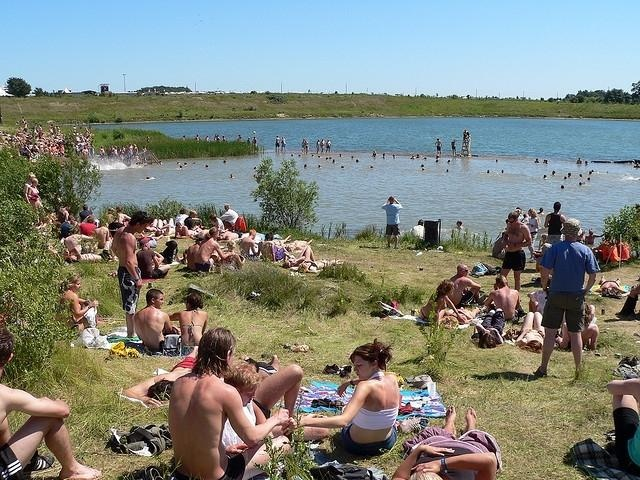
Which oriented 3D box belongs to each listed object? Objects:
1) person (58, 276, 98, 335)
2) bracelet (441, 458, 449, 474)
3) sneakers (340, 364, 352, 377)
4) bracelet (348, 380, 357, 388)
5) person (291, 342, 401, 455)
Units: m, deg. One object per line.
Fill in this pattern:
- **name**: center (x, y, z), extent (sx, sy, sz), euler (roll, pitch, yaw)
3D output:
- **person**: center (-4.129, 1.147, 10.924), extent (0.714, 1.111, 0.454), euler (-4, 11, -39)
- **bracelet**: center (1.293, 2.364, 6.569), extent (0.064, 0.134, 0.110), euler (0, 5, 2)
- **sneakers**: center (0.400, 2.040, 9.776), extent (0.129, 0.074, 0.180), euler (0, 0, -6)
- **bracelet**: center (0.421, 1.829, 8.032), extent (0.120, 0.039, 0.123), euler (-3, -8, 0)
- **person**: center (0.478, 1.907, 7.863), extent (1.089, 1.425, 1.786), euler (0, -9, 17)
